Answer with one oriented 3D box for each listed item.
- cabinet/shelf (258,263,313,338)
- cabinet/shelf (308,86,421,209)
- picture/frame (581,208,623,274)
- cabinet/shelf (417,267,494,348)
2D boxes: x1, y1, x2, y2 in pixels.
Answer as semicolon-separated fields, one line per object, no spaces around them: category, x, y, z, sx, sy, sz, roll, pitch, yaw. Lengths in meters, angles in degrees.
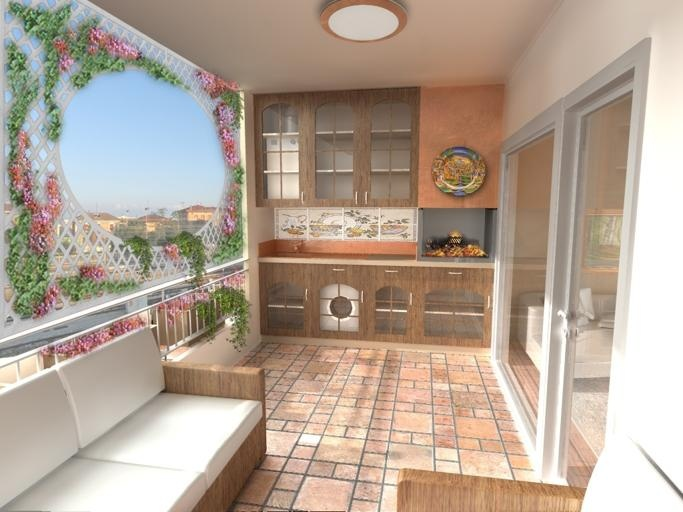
cabinet/shelf;-0.743;0.555;5.288;0.724;1.033;0.370;7;-16;-35
cabinet/shelf;0.294;-1.307;4.818;1.285;1.417;0.416;1;5;12
picture/frame;1.398;-0.104;2.304;0.365;0.352;0.028;0;4;-22
cabinet/shelf;1.289;0.522;4.736;0.889;1.015;0.388;1;3;12
